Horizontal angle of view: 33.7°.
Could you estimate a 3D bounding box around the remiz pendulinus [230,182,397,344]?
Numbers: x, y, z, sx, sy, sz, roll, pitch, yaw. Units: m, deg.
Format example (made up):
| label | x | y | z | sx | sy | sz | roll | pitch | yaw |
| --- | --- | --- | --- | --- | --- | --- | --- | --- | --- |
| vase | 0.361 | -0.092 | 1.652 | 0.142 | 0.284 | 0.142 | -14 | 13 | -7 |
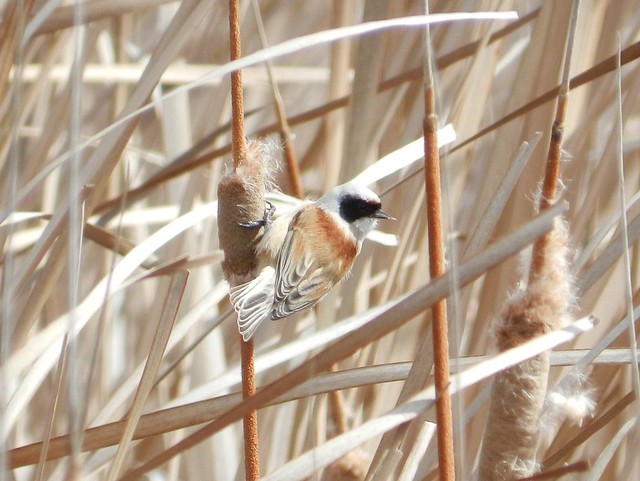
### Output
| label | x | y | z | sx | sy | sz | roll | pitch | yaw |
| --- | --- | --- | --- | --- | --- | --- | --- | --- | --- |
| remiz pendulinus | -0.066 | 0.062 | 3.733 | 0.613 | 0.464 | 0.286 | -24 | 53 | -36 |
